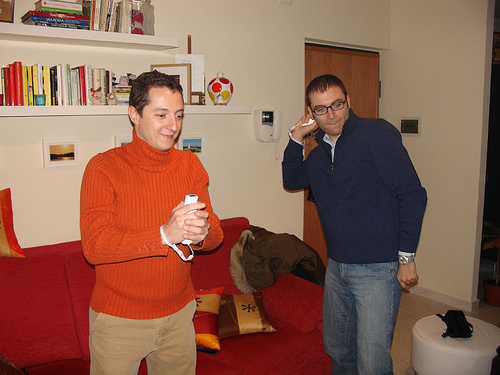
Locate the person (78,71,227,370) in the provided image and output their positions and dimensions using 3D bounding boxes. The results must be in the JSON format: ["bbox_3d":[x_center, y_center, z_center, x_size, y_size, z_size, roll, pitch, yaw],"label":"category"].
[{"bbox_3d":[-0.431,0.283,1.916,0.574,1.632,1.151,-1,12,-5],"label":"person"}]

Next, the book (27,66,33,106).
[{"bbox_3d":[-1.400,-0.641,2.373,0.034,0.230,0.026,-3,12,-16],"label":"book"}]

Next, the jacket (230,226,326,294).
[{"bbox_3d":[0.228,0.612,3.194,0.954,0.413,0.736,3,-9,-28],"label":"jacket"}]

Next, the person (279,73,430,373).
[{"bbox_3d":[0.615,0.230,2.121,0.344,1.684,0.670,-6,13,-27],"label":"person"}]

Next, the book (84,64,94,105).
[{"bbox_3d":[-1.108,-0.691,2.562,0.031,0.322,0.227,-3,8,-22],"label":"book"}]

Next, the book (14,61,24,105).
[{"bbox_3d":[-1.453,-0.646,2.340,0.045,0.307,0.224,-3,8,-28],"label":"book"}]

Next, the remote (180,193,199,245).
[{"bbox_3d":[-0.236,0.118,1.448,0.065,0.208,0.224,-2,12,-10],"label":"remote"}]

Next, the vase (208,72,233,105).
[{"bbox_3d":[-0.244,-0.798,3.070,0.235,0.287,0.224,-2,12,-10],"label":"vase"}]

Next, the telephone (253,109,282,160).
[{"bbox_3d":[0.161,-0.555,3.402,0.258,0.279,0.071,-5,12,-22],"label":"telephone"}]

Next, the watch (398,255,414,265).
[{"bbox_3d":[0.804,0.366,1.904,0.047,0.048,0.048,-2,1,-19],"label":"watch"}]

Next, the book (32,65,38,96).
[{"bbox_3d":[-1.376,-0.685,2.385,0.021,0.222,0.155,-3,11,-24],"label":"book"}]

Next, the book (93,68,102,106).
[{"bbox_3d":[-1.057,-0.684,2.576,0.034,0.343,0.239,-4,4,-23],"label":"book"}]
